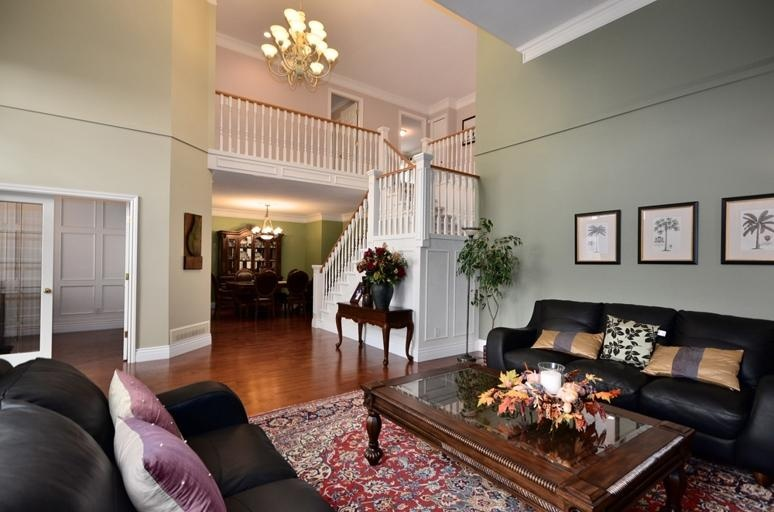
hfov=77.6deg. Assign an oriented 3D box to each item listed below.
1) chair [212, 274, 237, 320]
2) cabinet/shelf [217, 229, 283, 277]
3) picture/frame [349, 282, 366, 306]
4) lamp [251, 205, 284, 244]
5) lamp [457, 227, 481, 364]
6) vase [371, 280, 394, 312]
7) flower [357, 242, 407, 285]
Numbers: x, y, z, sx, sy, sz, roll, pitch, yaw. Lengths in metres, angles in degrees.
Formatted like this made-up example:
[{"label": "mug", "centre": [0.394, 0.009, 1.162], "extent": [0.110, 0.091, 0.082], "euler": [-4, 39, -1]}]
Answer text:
[{"label": "chair", "centre": [-3.636, 0.867, 10.826], "extent": [0.475, 0.912, 1.577], "euler": [1, 0, -18]}, {"label": "cabinet/shelf", "centre": [-3.456, -0.102, 11.912], "extent": [1.175, 1.026, 0.416], "euler": [1, -3, -39]}, {"label": "picture/frame", "centre": [-0.465, 0.624, 7.862], "extent": [0.114, 0.308, 0.325], "euler": [17, -8, -13]}, {"label": "lamp", "centre": [-2.998, -0.791, 12.146], "extent": [0.719, 0.830, 0.758], "euler": [1, 10, -11]}, {"label": "lamp", "centre": [1.249, 0.553, 7.283], "extent": [0.281, 2.031, 0.805], "euler": [1, 1, 10]}, {"label": "vase", "centre": [-0.080, 0.591, 7.158], "extent": [0.322, 0.417, 0.394], "euler": [1, 1, 5]}, {"label": "flower", "centre": [-0.086, 0.122, 7.439], "extent": [0.635, 0.699, 0.668], "euler": [4, 1, -24]}]
